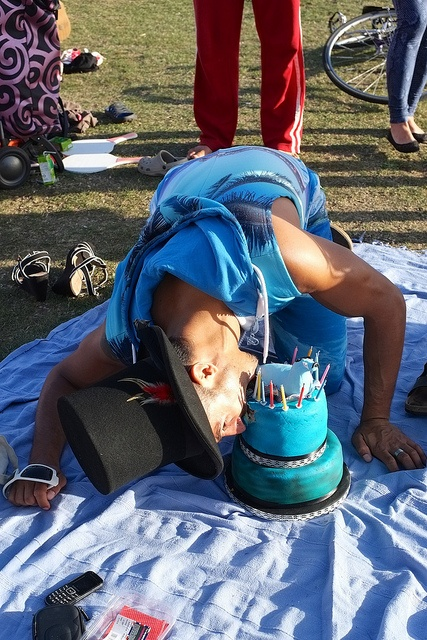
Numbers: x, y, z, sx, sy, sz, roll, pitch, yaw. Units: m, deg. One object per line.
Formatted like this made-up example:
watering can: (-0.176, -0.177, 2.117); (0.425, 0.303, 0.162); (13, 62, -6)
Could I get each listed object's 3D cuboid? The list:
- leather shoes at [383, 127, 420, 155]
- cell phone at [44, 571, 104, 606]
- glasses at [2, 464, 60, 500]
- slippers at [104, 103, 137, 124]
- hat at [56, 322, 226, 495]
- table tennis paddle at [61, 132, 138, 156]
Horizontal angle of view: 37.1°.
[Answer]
leather shoes: (1.185, -1.126, 3.991); (0.106, 0.078, 0.202); (-47, 54, -8)
cell phone: (-0.287, 0.562, 1.319); (0.062, 0.024, 0.115); (18, 28, 39)
glasses: (-0.463, 0.405, 1.613); (0.119, 0.031, 0.091); (-18, -17, 10)
slippers: (-0.684, -1.490, 4.560); (0.123, 0.099, 0.258); (-33, 39, -22)
hat: (-0.138, 0.193, 1.226); (0.264, 0.380, 0.258); (-13, 27, -28)
table tennis paddle: (-0.744, -1.144, 4.130); (0.426, 0.064, 0.229); (-11, 34, -7)
